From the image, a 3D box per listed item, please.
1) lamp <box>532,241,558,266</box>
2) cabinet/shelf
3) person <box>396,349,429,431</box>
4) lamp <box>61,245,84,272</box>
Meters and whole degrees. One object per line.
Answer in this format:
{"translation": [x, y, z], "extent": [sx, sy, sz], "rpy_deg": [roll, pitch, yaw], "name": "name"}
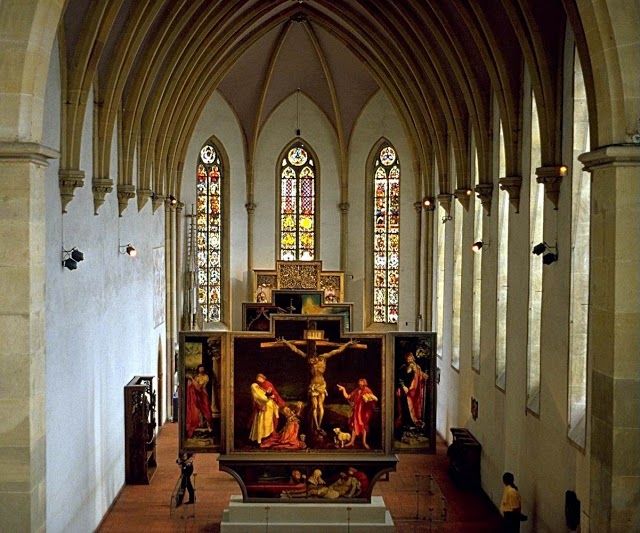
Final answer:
{"translation": [3.413, -0.216, 10.751], "extent": [0.323, 0.366, 0.360], "rpy_deg": [-5, -5, 32], "name": "lamp"}
{"translation": [-3.850, 3.548, 15.083], "extent": [0.430, 2.335, 1.956], "rpy_deg": [0, 3, -3], "name": "cabinet/shelf"}
{"translation": [1.613, 2.163, 12.358], "extent": [0.532, 1.351, 0.152], "rpy_deg": [0, -2, -9], "name": "person"}
{"translation": [-3.856, -0.113, 10.961], "extent": [0.316, 0.328, 0.109], "rpy_deg": [3, -7, 41], "name": "lamp"}
